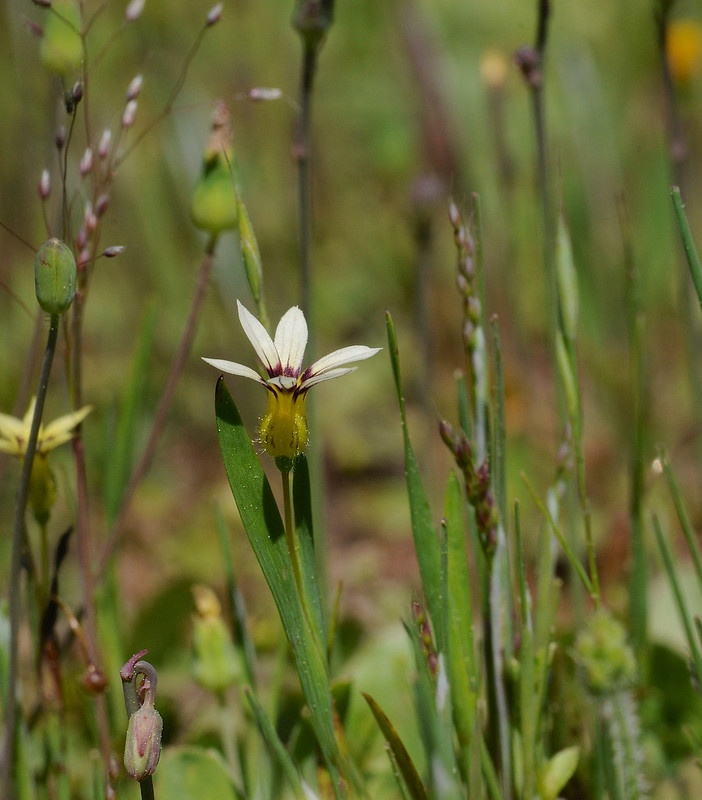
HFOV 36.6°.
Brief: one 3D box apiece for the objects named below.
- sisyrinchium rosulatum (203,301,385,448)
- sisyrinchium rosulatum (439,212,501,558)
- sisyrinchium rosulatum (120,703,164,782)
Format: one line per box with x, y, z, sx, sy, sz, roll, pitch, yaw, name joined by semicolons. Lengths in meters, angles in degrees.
-0.049;-0.004;0.803;0.085;0.099;0.108;-5;26;-28;sisyrinchium rosulatum
0.092;0.000;0.825;0.034;0.342;0.031;1;-7;-16;sisyrinchium rosulatum
-0.151;0.251;0.768;0.026;0.048;0.085;-5;-24;-13;sisyrinchium rosulatum
